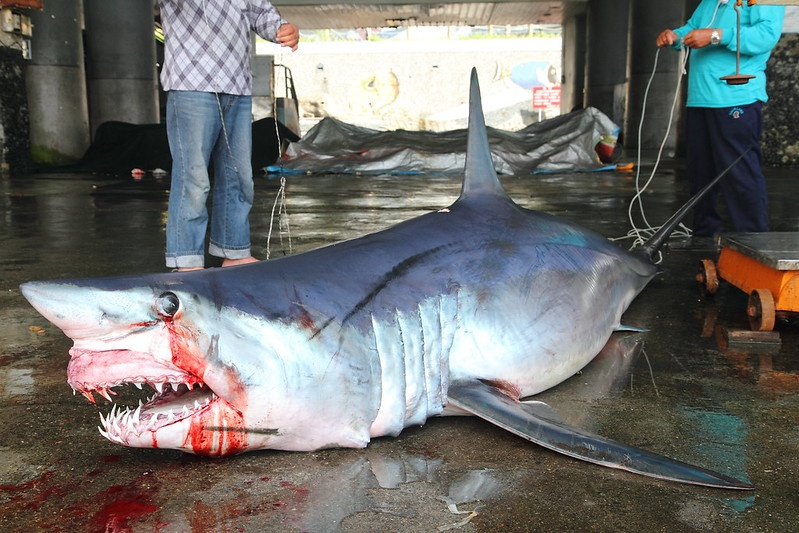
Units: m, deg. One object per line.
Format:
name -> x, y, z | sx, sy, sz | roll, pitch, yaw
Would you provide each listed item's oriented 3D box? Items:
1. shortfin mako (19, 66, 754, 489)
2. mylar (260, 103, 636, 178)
shortfin mako -> 0.085, 0.172, 3.514 | 1.563, 1.159, 2.167 | 8, 13, 38
mylar -> 0.792, -1.882, 14.021 | 3.861, 0.528, 3.124 | 0, 2, 8
